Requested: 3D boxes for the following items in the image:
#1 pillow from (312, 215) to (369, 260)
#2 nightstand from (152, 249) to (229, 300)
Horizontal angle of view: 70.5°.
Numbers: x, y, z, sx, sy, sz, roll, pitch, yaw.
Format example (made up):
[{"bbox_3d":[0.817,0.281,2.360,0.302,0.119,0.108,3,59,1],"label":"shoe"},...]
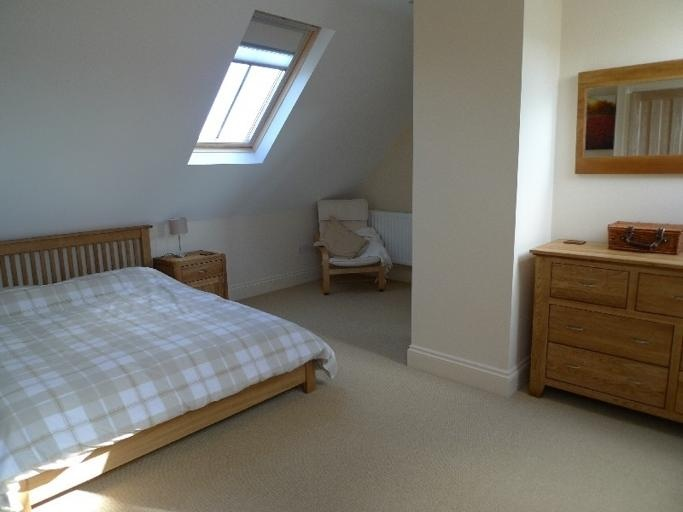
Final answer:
[{"bbox_3d":[-0.022,-0.183,5.547,0.507,0.505,0.149,-44,-9,-10],"label":"pillow"},{"bbox_3d":[-1.515,0.100,4.729,0.519,0.470,0.563,11,13,36],"label":"nightstand"}]
